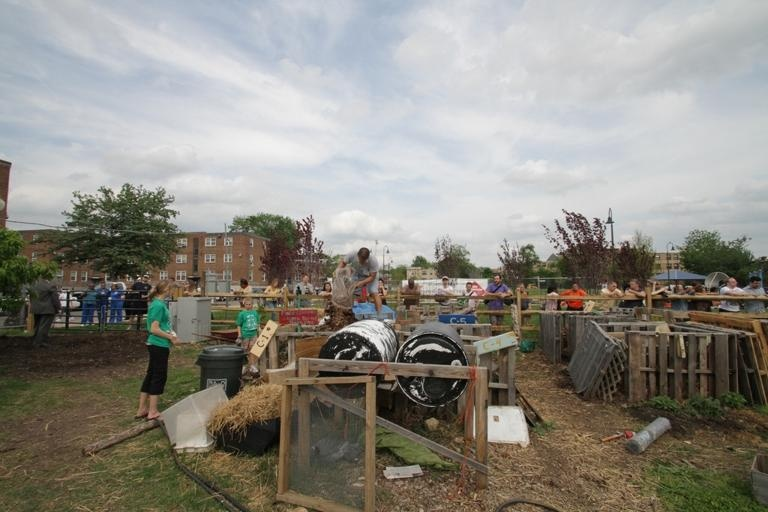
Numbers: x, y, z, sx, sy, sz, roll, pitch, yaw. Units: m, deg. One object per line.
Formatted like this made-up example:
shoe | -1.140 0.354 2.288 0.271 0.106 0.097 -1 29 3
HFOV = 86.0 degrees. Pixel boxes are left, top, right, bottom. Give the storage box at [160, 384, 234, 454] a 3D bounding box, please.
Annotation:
storage box | -3.305 2.904 7.343 0.847 0.822 1.106 -10 -9 2

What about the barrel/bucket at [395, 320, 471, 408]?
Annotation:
barrel/bucket | 0.758 1.821 7.025 1.262 1.206 1.934 4 3 4

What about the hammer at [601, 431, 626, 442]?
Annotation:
hammer | 4.041 3.170 7.254 0.552 0.080 0.092 2 -31 -26

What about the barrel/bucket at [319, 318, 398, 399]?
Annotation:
barrel/bucket | -0.366 1.733 7.027 0.934 1.176 1.535 -6 -5 34
